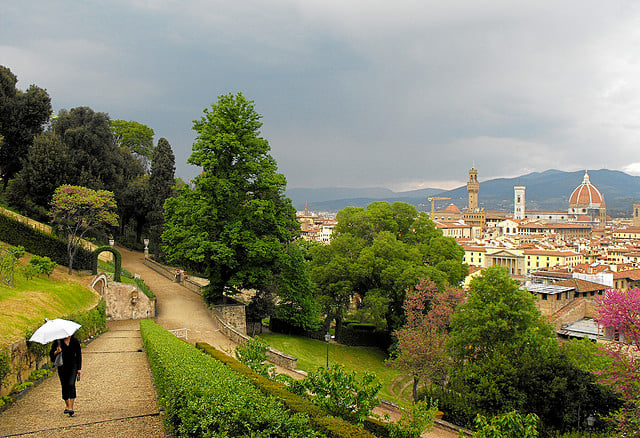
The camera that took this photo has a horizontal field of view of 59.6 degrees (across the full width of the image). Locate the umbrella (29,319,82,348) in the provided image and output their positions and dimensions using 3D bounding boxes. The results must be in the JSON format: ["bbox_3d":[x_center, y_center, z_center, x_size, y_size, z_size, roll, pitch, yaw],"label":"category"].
[{"bbox_3d":[-12.991,5.553,27.793,1.618,0.516,1.618,7,16,41],"label":"umbrella"}]
